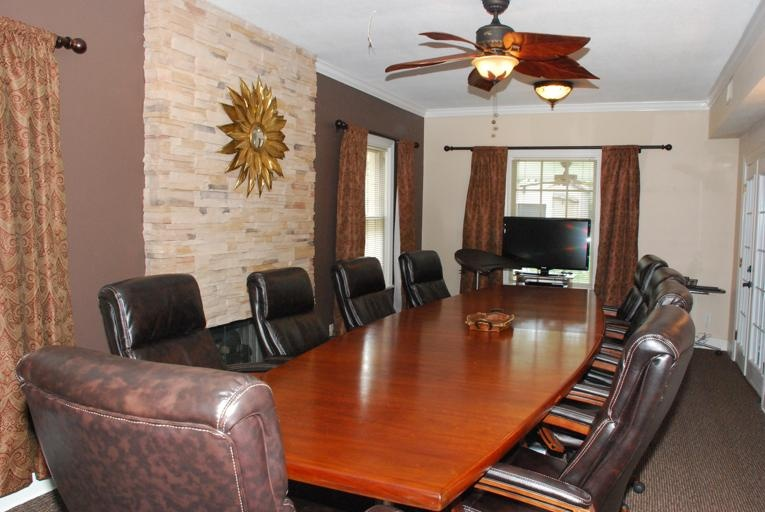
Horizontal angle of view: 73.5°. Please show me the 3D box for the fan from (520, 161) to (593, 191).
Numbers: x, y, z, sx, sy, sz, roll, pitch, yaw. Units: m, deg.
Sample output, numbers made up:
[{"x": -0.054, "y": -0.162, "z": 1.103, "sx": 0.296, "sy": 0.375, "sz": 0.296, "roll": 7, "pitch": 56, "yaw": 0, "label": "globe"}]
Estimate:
[{"x": 2.326, "y": -0.997, "z": 6.890, "sx": 0.540, "sy": 0.207, "sz": 0.523, "roll": -2, "pitch": 3, "yaw": -39, "label": "fan"}]

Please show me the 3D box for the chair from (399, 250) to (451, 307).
[{"x": 0.275, "y": 0.183, "z": 4.542, "sx": 0.405, "sy": 0.551, "sz": 0.504, "roll": -9, "pitch": 4, "yaw": -38, "label": "chair"}]

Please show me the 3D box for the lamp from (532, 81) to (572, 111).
[{"x": 1.376, "y": -1.325, "z": 4.232, "sx": 0.286, "sy": 0.180, "sz": 0.281, "roll": -1, "pitch": 4, "yaw": 0, "label": "lamp"}]

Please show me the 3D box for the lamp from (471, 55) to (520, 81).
[{"x": 0.708, "y": -1.173, "z": 3.210, "sx": 0.256, "sy": 0.124, "sz": 0.282, "roll": 7, "pitch": 12, "yaw": 15, "label": "lamp"}]

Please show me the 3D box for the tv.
[{"x": 2.082, "y": -0.136, "z": 6.515, "sx": 0.774, "sy": 0.532, "sz": 0.205, "roll": 2, "pitch": 1, "yaw": 19, "label": "tv"}]

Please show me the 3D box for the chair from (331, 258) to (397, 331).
[{"x": -0.155, "y": 0.252, "z": 3.747, "sx": 0.528, "sy": 0.587, "sz": 0.424, "roll": -6, "pitch": 2, "yaw": 43, "label": "chair"}]
